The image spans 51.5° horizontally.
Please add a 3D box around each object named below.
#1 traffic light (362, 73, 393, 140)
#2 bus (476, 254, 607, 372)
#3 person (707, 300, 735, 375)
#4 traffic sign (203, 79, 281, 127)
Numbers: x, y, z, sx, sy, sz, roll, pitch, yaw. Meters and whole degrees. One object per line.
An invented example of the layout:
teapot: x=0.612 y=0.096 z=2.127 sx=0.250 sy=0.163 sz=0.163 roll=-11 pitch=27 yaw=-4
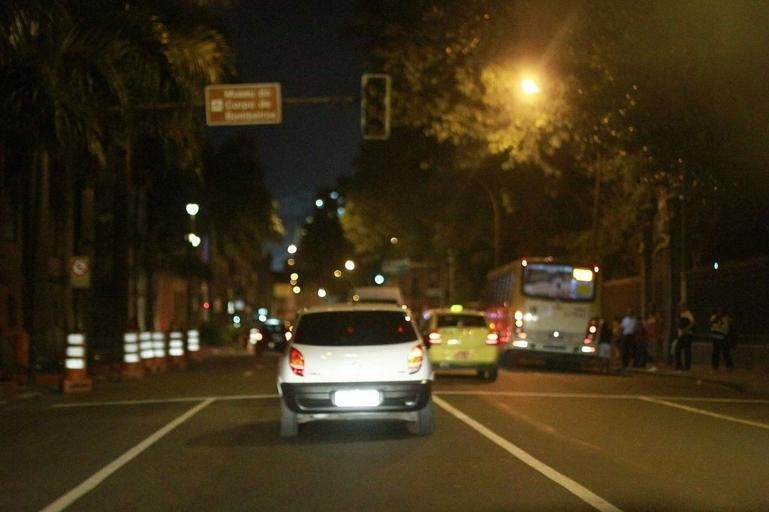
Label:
traffic light: x=-0.258 y=-3.763 z=19.506 sx=0.808 sy=1.633 sz=0.816 roll=-2 pitch=-4 yaw=10
bus: x=6.214 y=2.061 z=30.150 sx=3.779 sy=4.042 sz=1.871 roll=-3 pitch=-4 yaw=17
person: x=11.044 y=2.687 z=26.139 sx=0.679 sy=2.047 sz=1.202 roll=-3 pitch=-4 yaw=23
traffic sign: x=-3.795 y=-3.873 z=21.148 sx=2.080 sy=0.611 sz=1.427 roll=4 pitch=-8 yaw=-22
